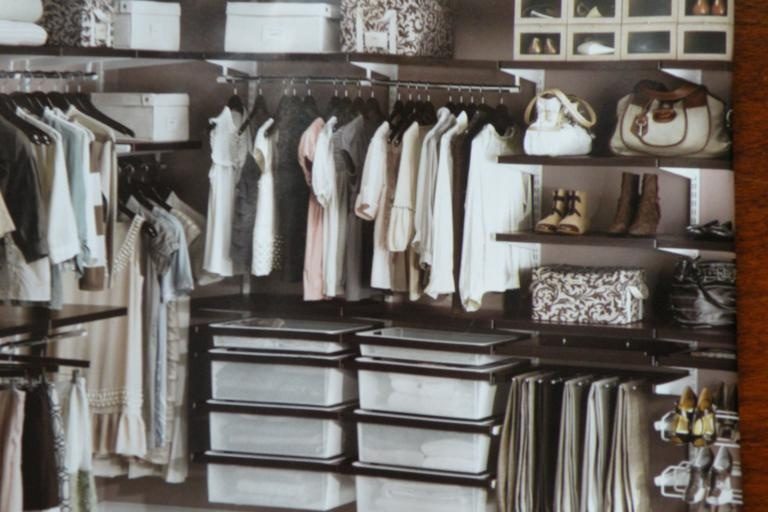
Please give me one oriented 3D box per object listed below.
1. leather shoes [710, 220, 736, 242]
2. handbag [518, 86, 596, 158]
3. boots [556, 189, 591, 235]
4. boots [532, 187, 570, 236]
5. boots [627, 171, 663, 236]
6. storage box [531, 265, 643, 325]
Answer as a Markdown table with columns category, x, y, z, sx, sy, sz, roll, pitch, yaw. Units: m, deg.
| category | x | y | z | sx | sy | sz | roll | pitch | yaw |
| --- | --- | --- | --- | --- | --- | --- | --- | --- | --- |
| leather shoes | 1.373 | -0.096 | 4.666 | 0.094 | 0.074 | 0.252 | 3 | 6 | 16 |
| handbag | 0.772 | -0.570 | 4.984 | 0.337 | 0.322 | 0.282 | -1 | -5 | -36 |
| boots | 0.839 | -0.185 | 5.005 | 0.102 | 0.186 | 0.214 | 5 | 6 | 31 |
| boots | 0.737 | -0.192 | 5.005 | 0.077 | 0.178 | 0.193 | 16 | 22 | 39 |
| boots | 1.115 | -0.216 | 4.910 | 0.121 | 0.262 | 0.132 | 3 | 5 | 19 |
| storage box | 0.875 | 0.181 | 4.928 | 0.495 | 0.246 | 0.108 | 3 | 5 | 9 |
